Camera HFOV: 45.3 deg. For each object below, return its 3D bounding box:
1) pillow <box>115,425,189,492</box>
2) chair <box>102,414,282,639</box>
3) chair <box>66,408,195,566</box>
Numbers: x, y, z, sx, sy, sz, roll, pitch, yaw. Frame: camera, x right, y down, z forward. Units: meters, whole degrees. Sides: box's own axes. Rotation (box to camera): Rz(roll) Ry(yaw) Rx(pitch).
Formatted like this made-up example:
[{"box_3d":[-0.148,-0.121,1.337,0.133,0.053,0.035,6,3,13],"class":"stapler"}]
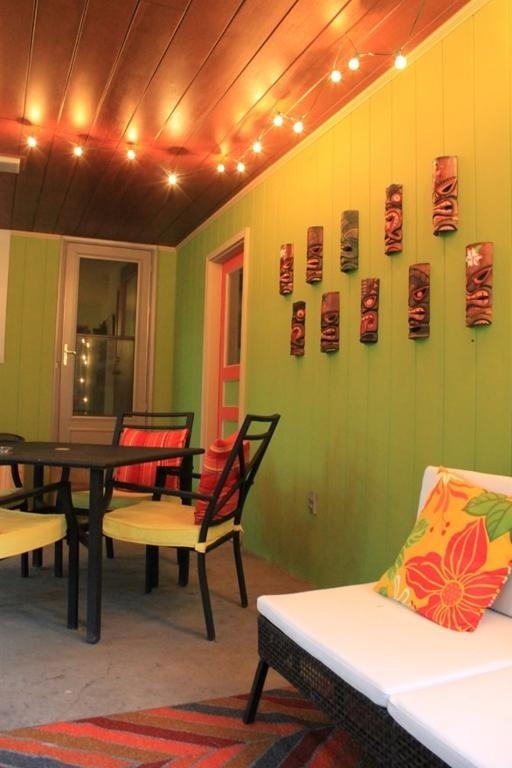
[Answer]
[{"box_3d":[-0.454,0.349,2.787,0.296,0.289,0.106,5,-9,30],"class":"pillow"},{"box_3d":[-0.268,0.528,2.428,0.608,0.843,0.499,3,1,16],"class":"chair"},{"box_3d":[-0.563,0.488,2.902,0.492,0.748,0.533,-1,-8,19],"class":"chair"}]
